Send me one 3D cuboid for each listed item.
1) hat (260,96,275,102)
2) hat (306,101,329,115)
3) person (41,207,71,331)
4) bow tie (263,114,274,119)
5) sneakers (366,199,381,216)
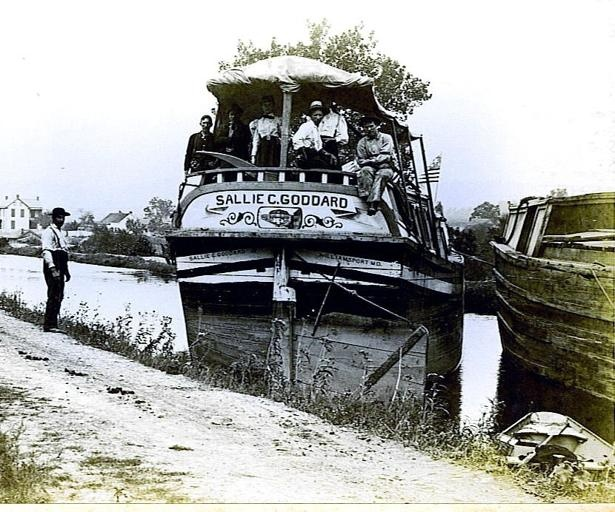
[{"bbox_3d":[-0.577,-2.293,9.206,0.146,0.056,0.117,1,8,6],"label":"hat"},{"bbox_3d":[0.156,-2.129,9.004,0.451,0.087,0.356,0,-11,-8],"label":"hat"},{"bbox_3d":[-3.496,0.185,8.667,0.384,1.600,0.507,8,1,-4],"label":"person"},{"bbox_3d":[-0.573,-2.051,9.223,0.116,0.075,0.024,0,-2,-4],"label":"bow tie"},{"bbox_3d":[0.880,-0.644,8.475,0.171,0.195,0.118,6,1,1],"label":"sneakers"}]
